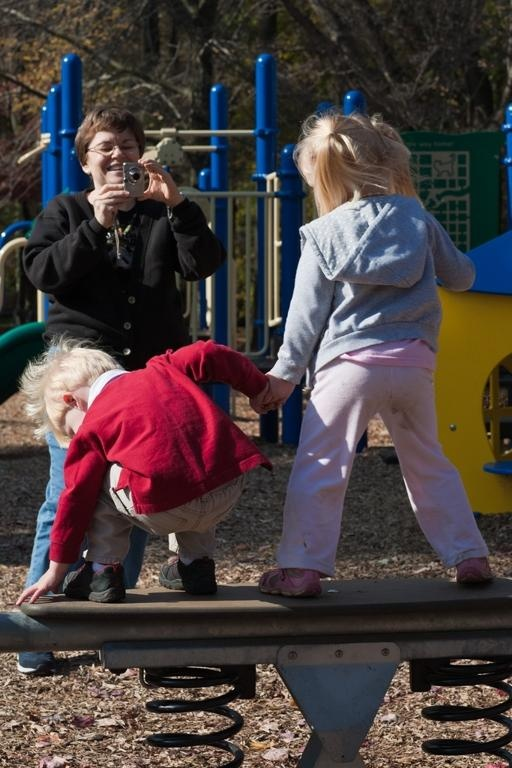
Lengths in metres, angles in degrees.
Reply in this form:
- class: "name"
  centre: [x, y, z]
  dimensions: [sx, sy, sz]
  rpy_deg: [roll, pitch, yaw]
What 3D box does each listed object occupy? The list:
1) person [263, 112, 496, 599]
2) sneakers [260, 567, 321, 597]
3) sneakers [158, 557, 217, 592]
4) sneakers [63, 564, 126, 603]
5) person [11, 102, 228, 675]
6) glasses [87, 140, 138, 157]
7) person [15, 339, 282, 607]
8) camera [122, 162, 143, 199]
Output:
- class: "person"
  centre: [0.298, -0.107, 3.085]
  dimensions: [0.612, 1.245, 0.605]
  rpy_deg: [-1, 8, -1]
- class: "sneakers"
  centre: [0.089, 0.499, 2.941]
  dimensions: [0.157, 0.069, 0.061]
  rpy_deg: [0, -3, 38]
- class: "sneakers"
  centre: [-0.175, 0.501, 3.017]
  dimensions: [0.071, 0.092, 0.196]
  rpy_deg: [0, 2, -26]
- class: "sneakers"
  centre: [-0.388, 0.494, 2.862]
  dimensions: [0.073, 0.082, 0.173]
  rpy_deg: [7, -6, -44]
- class: "person"
  centre: [-0.518, -0.020, 3.562]
  dimensions: [0.538, 1.408, 0.512]
  rpy_deg: [17, -6, -18]
- class: "glasses"
  centre: [-0.429, -0.700, 3.437]
  dimensions: [0.129, 0.040, 0.046]
  rpy_deg: [-2, 8, -5]
- class: "person"
  centre: [-0.281, 0.204, 2.977]
  dimensions: [0.715, 0.675, 0.483]
  rpy_deg: [-7, -3, 31]
- class: "camera"
  centre: [-0.350, -0.582, 3.302]
  dimensions: [0.059, 0.094, 0.071]
  rpy_deg: [-2, 8, -5]
